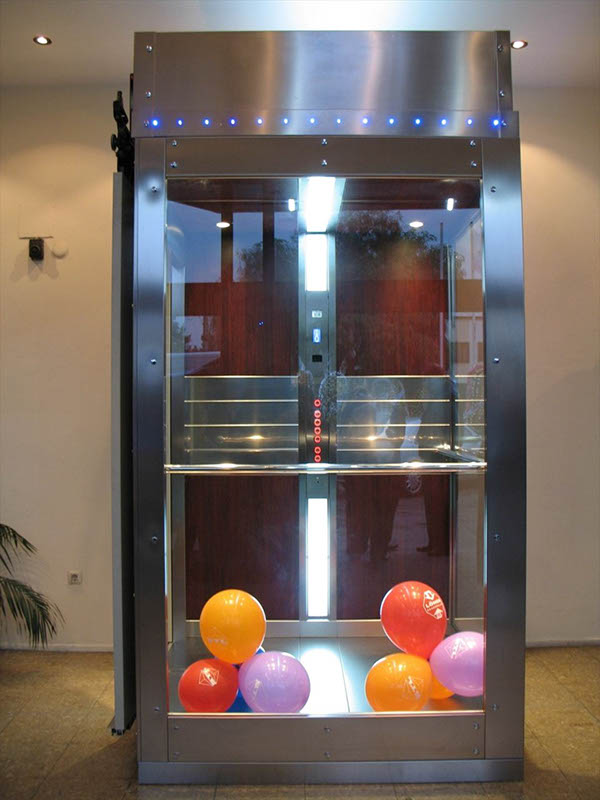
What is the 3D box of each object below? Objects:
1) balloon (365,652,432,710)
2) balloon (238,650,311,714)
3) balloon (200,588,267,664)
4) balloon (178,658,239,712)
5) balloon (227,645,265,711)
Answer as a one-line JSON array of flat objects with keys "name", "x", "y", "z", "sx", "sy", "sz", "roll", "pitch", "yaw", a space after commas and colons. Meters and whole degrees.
[{"name": "balloon", "x": 0.291, "y": 0.851, "z": 2.316, "sx": 0.158, "sy": 0.229, "sz": 0.155, "roll": -1, "pitch": -10, "yaw": -29}, {"name": "balloon", "x": -0.071, "y": 0.901, "z": 2.395, "sx": 0.176, "sy": 0.231, "sz": 0.252, "roll": -11, "pitch": -5, "yaw": 4}, {"name": "balloon", "x": -0.210, "y": 0.696, "z": 2.376, "sx": 0.180, "sy": 0.269, "sz": 0.205, "roll": -4, "pitch": -5, "yaw": 0}, {"name": "balloon", "x": -0.267, "y": 0.850, "z": 2.382, "sx": 0.137, "sy": 0.208, "sz": 0.155, "roll": -9, "pitch": -24, "yaw": 39}, {"name": "balloon", "x": -0.156, "y": 0.856, "z": 2.387, "sx": 0.135, "sy": 0.209, "sz": 0.160, "roll": -1, "pitch": -22, "yaw": 2}]
